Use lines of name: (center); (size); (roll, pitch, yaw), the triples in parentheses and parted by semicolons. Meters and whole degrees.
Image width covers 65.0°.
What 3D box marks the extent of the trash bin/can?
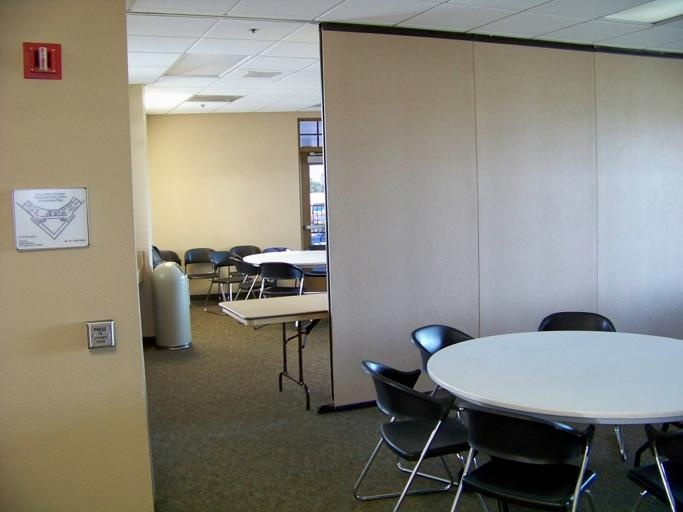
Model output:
trash bin/can: (-2.226, 0.647, 7.038); (0.458, 1.119, 0.285); (-4, 8, -21)

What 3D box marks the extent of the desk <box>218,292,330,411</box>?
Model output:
desk: (-0.441, 1.003, 5.279); (1.051, 0.713, 0.557); (-10, -28, 36)
